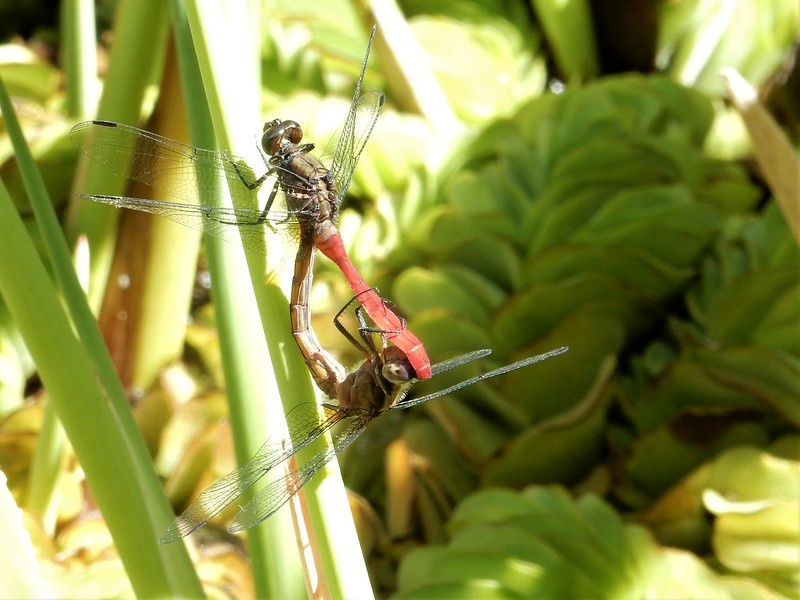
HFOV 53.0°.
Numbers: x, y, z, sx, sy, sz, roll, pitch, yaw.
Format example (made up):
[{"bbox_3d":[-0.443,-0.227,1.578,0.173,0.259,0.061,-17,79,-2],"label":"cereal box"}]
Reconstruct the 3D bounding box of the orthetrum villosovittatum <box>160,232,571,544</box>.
[{"bbox_3d":[-0.052,0.093,0.566,0.227,0.280,0.160,-8,10,-28],"label":"orthetrum villosovittatum"}]

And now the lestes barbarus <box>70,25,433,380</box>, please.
[{"bbox_3d":[-0.112,-0.076,0.590,0.190,0.329,0.196,6,-1,-18],"label":"lestes barbarus"}]
